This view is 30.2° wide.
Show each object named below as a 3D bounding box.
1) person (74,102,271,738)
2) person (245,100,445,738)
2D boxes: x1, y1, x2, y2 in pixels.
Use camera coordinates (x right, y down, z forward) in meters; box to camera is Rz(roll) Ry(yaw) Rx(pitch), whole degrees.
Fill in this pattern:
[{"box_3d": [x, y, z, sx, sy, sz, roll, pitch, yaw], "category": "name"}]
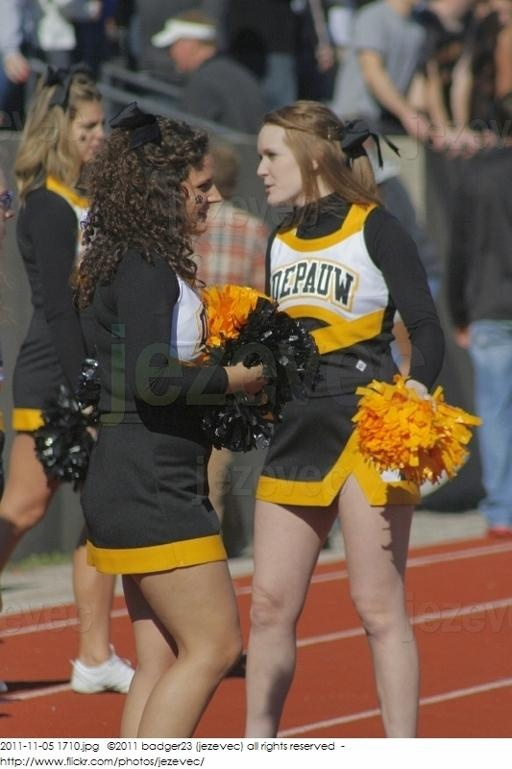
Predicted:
[{"box_3d": [-0.249, 0.076, 2.346, 0.376, 1.419, 0.763, -2, 22, -10], "category": "person"}, {"box_3d": [0.233, 0.090, 2.647, 0.498, 1.621, 0.886, 2, 22, -1], "category": "person"}]
